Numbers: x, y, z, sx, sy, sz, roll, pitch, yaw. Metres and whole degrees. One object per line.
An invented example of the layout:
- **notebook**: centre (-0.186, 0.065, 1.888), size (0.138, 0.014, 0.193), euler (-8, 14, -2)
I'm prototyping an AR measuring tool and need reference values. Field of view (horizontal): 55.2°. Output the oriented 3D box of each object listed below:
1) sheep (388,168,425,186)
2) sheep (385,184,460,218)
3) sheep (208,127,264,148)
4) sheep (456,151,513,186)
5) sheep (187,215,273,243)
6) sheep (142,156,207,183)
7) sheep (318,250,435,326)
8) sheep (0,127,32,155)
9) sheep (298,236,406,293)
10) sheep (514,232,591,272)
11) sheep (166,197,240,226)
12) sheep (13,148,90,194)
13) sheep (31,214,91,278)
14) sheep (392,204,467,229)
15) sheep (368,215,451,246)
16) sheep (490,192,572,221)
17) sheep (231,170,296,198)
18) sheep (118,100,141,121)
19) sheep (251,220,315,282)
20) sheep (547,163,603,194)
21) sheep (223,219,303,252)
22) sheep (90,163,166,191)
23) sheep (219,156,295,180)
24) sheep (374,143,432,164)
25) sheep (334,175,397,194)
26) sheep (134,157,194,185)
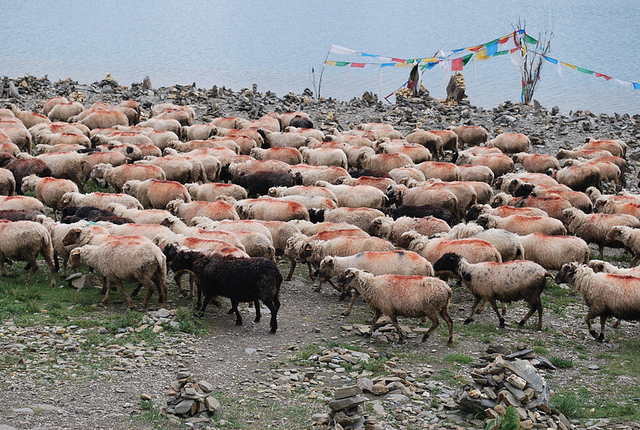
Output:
- **sheep**: centre (2.966, -1.289, 20.495), size (1.086, 0.477, 0.581), euler (12, 16, 42)
- **sheep**: centre (3.128, -0.281, 18.606), size (2.609, 1.017, 0.789), euler (10, 9, 35)
- **sheep**: centre (-3.447, -3.119, 24.835), size (2.476, 1.014, 0.532), euler (11, 48, 12)
- **sheep**: centre (5.956, -1.896, 22.729), size (2.599, 1.129, 0.785), euler (18, 21, 39)
- **sheep**: centre (-2.305, 0.378, 15.465), size (2.274, 0.546, 1.064), euler (4, 5, 35)
- **sheep**: centre (-5.084, -1.375, 20.941), size (2.758, 1.041, 0.711), euler (3, 18, 33)
- **sheep**: centre (1.354, 1.585, 13.927), size (3.325, 1.452, 0.957), euler (1, -6, 38)
- **sheep**: centre (-11.212, -2.876, 22.774), size (1.979, 0.843, 0.563), euler (21, 27, 24)
- **sheep**: centre (0.478, 1.172, 15.254), size (3.122, 1.240, 0.990), euler (5, 6, -36)
- **sheep**: centre (5.697, 1.003, 15.182), size (0.749, 0.961, 2.339), euler (-10, 8, -40)
- **sheep**: centre (-3.337, 0.068, 17.138), size (2.463, 0.980, 0.704), euler (7, 11, 32)
- **sheep**: centre (-8.798, -1.474, 20.003), size (2.719, 1.063, 0.748), euler (1, 17, -3)
- **sheep**: centre (-6.145, 0.735, 14.819), size (2.296, 1.300, 0.784), euler (3, 4, -14)
- **sheep**: centre (2.968, 0.040, 16.845), size (1.595, 0.633, 0.350), euler (7, 37, 11)
- **sheep**: centre (2.321, 0.451, 16.352), size (2.363, 0.910, 0.646), euler (1, 16, -13)
- **sheep**: centre (6.320, -0.255, 18.320), size (2.788, 1.116, 0.672), euler (3, 39, 22)
- **sheep**: centre (-2.366, -0.990, 20.098), size (0.684, 0.955, 2.259), euler (31, 15, 29)
- **sheep**: centre (-9.238, -5.214, 29.806), size (0.570, 0.919, 1.933), euler (-22, 38, -39)
- **sheep**: centre (-1.256, 0.896, 16.147), size (2.934, 1.673, 0.826), euler (-5, -5, 43)
- **sheep**: centre (8.982, -1.222, 21.541), size (0.941, 1.012, 2.291), euler (-7, 7, -24)
- **sheep**: centre (-1.433, 0.334, 15.959), size (2.259, 0.907, 0.690), euler (10, 26, 12)
- **sheep**: centre (-6.103, -1.131, 19.741), size (2.915, 0.971, 0.727), euler (4, 9, 14)
- **sheep**: centre (-2.273, -1.589, 20.998), size (2.464, 0.959, 0.588), euler (9, 24, 21)
- **sheep**: centre (3.050, -2.276, 22.840), size (2.102, 0.852, 0.631), euler (16, 25, 24)
- **sheep**: centre (1.368, -0.930, 19.028), size (1.625, 0.327, 0.686), euler (5, -8, 9)
- **sheep**: centre (-5.183, -1.480, 20.519), size (2.408, 0.966, 0.695), euler (8, 29, 26)
